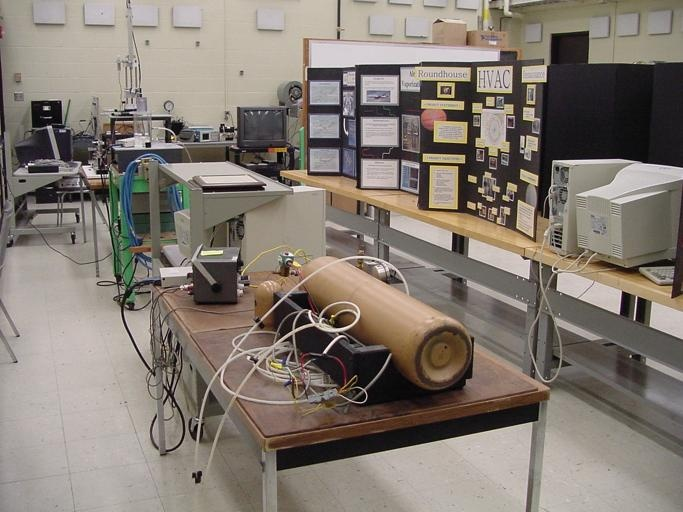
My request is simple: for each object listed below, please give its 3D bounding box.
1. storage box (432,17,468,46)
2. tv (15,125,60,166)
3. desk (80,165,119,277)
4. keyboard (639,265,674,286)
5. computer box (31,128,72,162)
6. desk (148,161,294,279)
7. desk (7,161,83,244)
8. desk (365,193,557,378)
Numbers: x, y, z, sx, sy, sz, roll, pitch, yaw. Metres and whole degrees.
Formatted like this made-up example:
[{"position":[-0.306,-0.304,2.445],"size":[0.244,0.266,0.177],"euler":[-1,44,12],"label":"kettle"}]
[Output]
[{"position":[1.560,-3.166,7.637],"size":[0.474,0.378,0.497],"euler":[1,16,11],"label":"storage box"},{"position":[-3.643,-1.328,6.468],"size":[0.650,0.514,0.668],"euler":[-7,18,-29],"label":"tv"},{"position":[-2.632,-0.336,5.741],"size":[0.477,0.676,1.308],"euler":[-2,14,-19],"label":"desk"},{"position":[1.445,0.094,2.380],"size":[0.140,0.040,0.172],"euler":[-1,16,4],"label":"keyboard"},{"position":[-3.555,-1.325,6.476],"size":[0.248,0.414,0.459],"euler":[-22,38,-40],"label":"computer box"},{"position":[-0.672,-0.091,3.238],"size":[0.471,0.657,0.865],"euler":[-9,8,-10],"label":"desk"},{"position":[-3.598,-0.608,6.425],"size":[0.648,0.757,1.091],"euler":[-2,18,-15],"label":"desk"},{"position":[0.694,0.137,2.941],"size":[0.508,0.499,1.059],"euler":[-7,18,-31],"label":"desk"}]
